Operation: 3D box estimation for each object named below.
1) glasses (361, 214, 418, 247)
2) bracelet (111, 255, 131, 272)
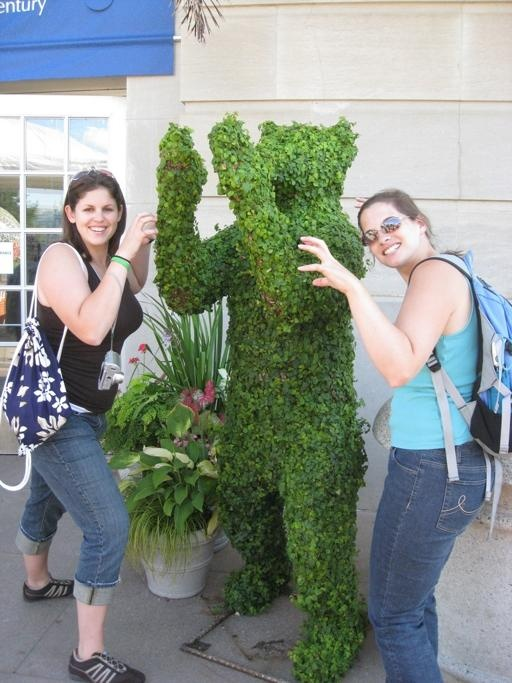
[{"bbox_3d":[0.334,-0.292,1.672,0.080,0.025,0.077,-17,-8,-46],"label":"glasses"},{"bbox_3d":[-0.414,-0.245,1.986,0.050,0.018,0.049,31,2,-28],"label":"bracelet"}]
